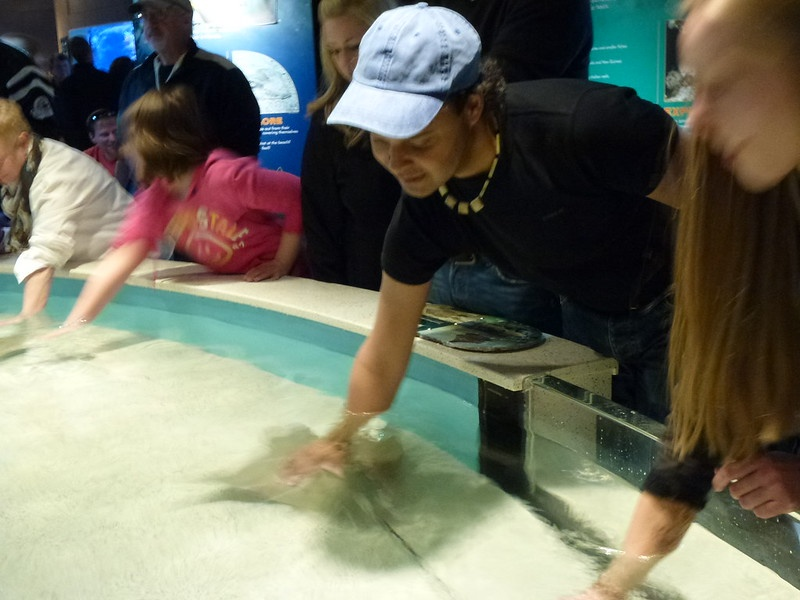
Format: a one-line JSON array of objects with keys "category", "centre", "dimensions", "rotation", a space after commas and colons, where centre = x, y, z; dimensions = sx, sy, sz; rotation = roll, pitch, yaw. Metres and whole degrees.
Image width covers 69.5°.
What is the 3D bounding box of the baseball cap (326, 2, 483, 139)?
[{"category": "baseball cap", "centre": [0.034, -0.448, 1.130], "dimensions": [0.217, 0.128, 0.328], "rotation": [17, 57, 25]}]
